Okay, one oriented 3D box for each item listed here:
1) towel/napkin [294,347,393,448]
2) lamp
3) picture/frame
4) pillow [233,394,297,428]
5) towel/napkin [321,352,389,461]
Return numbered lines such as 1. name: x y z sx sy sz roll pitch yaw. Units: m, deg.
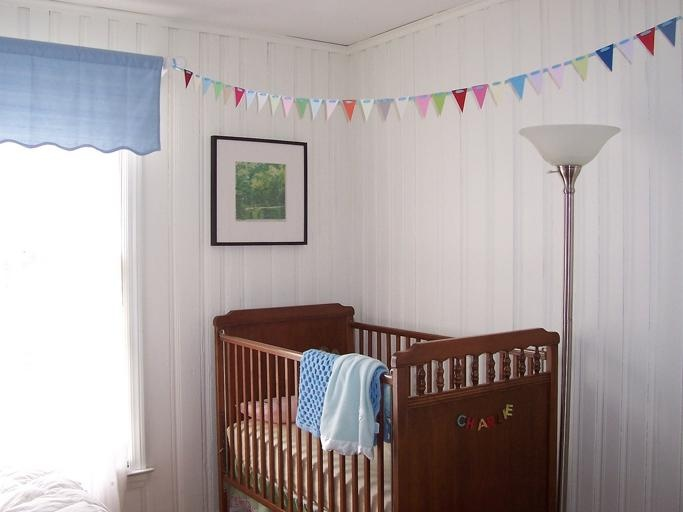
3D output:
1. towel/napkin: 0.004 0.633 2.541 0.381 0.445 0.167 3 -1 37
2. lamp: 1.003 0.309 2.566 0.348 1.745 0.247 0 1 -19
3. picture/frame: -0.562 -0.408 3.660 0.643 0.752 0.047 1 -1 -31
4. pillow: -0.394 0.828 3.112 0.248 0.086 0.236 4 -1 -33
5. towel/napkin: 0.069 0.634 2.545 0.274 0.448 0.129 1 -4 38
